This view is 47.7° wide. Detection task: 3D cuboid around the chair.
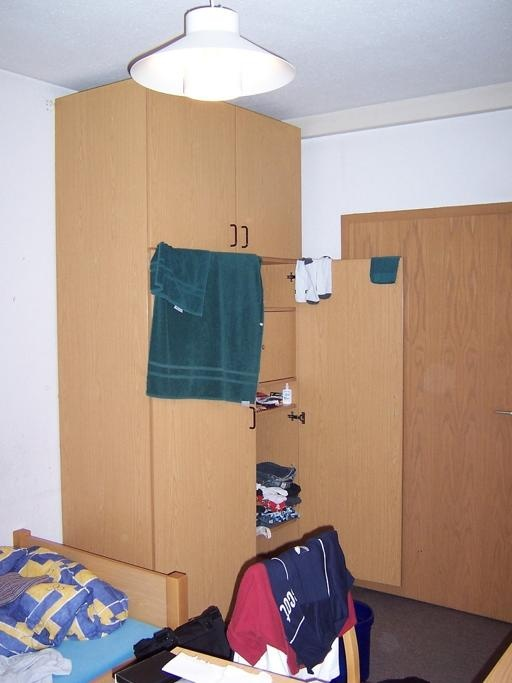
[{"bbox_3d":[0.135,0.836,1.675,0.189,0.468,0.518,-1,0,38],"label":"chair"}]
